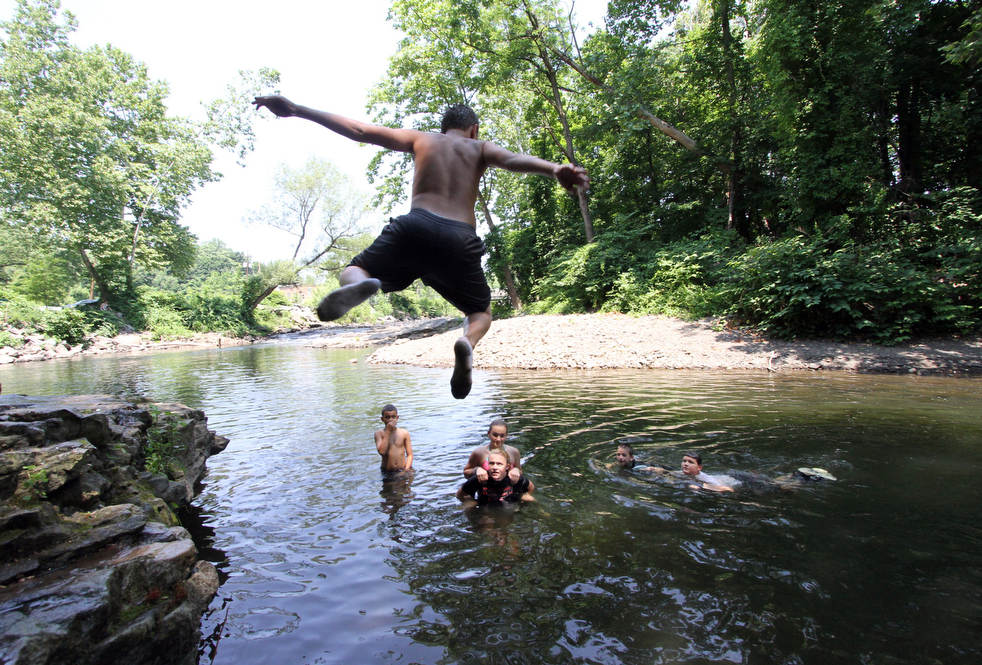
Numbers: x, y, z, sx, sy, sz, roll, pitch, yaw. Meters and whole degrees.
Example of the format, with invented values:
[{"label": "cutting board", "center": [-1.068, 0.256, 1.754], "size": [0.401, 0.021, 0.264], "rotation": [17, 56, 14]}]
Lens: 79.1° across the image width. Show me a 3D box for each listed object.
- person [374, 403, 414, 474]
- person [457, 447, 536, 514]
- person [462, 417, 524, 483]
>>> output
[{"label": "person", "center": [-1.483, 1.621, 9.037], "size": [0.528, 0.919, 0.705], "rotation": [-7, 13, -11]}, {"label": "person", "center": [0.036, 1.991, 7.883], "size": [1.219, 0.738, 0.567], "rotation": [5, -12, -20]}, {"label": "person", "center": [0.020, 1.777, 8.822], "size": [0.996, 0.793, 0.504], "rotation": [1, -25, 2]}]
